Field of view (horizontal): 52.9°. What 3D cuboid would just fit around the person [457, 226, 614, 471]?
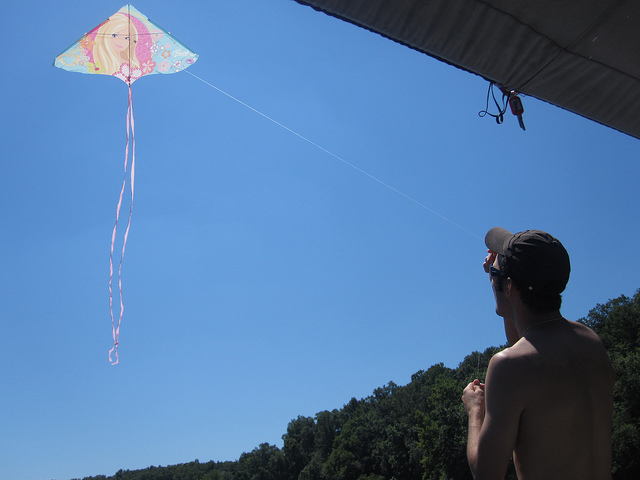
[{"bbox_3d":[1.083,0.581,3.362,0.767,1.119,0.558,-13,-35,10],"label":"person"}]
